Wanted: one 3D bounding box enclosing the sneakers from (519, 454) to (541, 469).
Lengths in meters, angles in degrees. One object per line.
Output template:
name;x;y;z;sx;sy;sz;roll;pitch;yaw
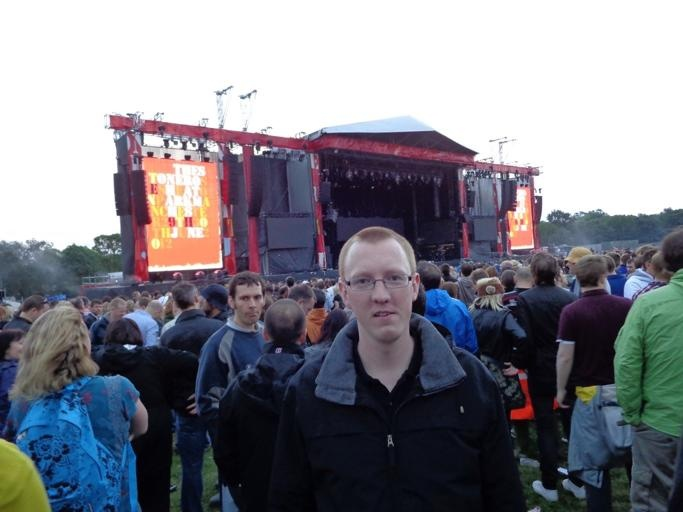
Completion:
sneakers;1.900;2.087;6.484;0.146;0.060;0.101;20;-17;7

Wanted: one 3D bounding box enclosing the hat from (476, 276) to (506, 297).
hat;1.511;0.306;6.488;0.222;0.194;0.173;-17;-21;29

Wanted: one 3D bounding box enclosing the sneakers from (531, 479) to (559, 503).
sneakers;1.856;2.152;5.834;0.089;0.098;0.240;2;1;-22

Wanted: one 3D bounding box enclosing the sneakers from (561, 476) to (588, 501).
sneakers;2.115;2.092;5.863;0.117;0.185;0.336;-4;0;-8
